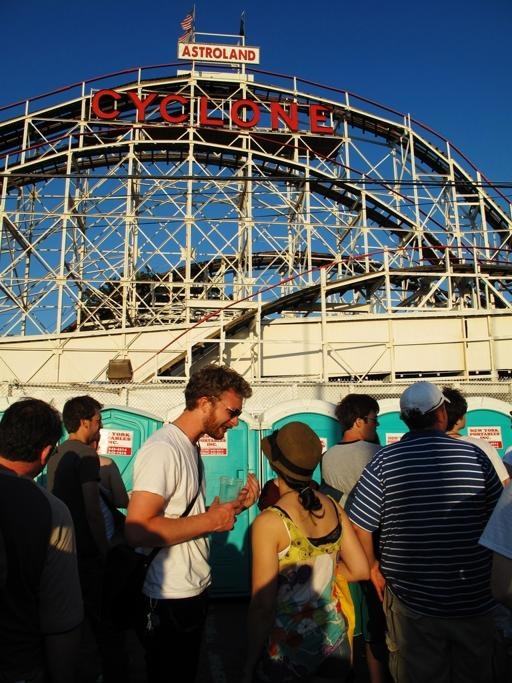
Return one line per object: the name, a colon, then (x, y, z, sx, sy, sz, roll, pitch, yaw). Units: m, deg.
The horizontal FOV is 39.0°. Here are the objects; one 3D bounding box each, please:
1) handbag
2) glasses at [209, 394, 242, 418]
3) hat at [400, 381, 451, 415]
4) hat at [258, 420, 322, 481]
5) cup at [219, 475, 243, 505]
handbag: (-0.570, 1.091, 3.206, 0.242, 0.368, 0.081, -10, -15, 31)
glasses: (-0.144, 0.310, 3.442, 0.127, 0.040, 0.130, 17, 0, -39)
hat: (0.842, 0.280, 3.628, 0.150, 0.105, 0.220, -2, 22, 40)
hat: (0.161, 0.504, 3.287, 0.213, 0.268, 0.305, 2, -12, -18)
cup: (-0.132, 0.706, 3.457, 0.115, 0.109, 0.106, 5, -14, 1)
